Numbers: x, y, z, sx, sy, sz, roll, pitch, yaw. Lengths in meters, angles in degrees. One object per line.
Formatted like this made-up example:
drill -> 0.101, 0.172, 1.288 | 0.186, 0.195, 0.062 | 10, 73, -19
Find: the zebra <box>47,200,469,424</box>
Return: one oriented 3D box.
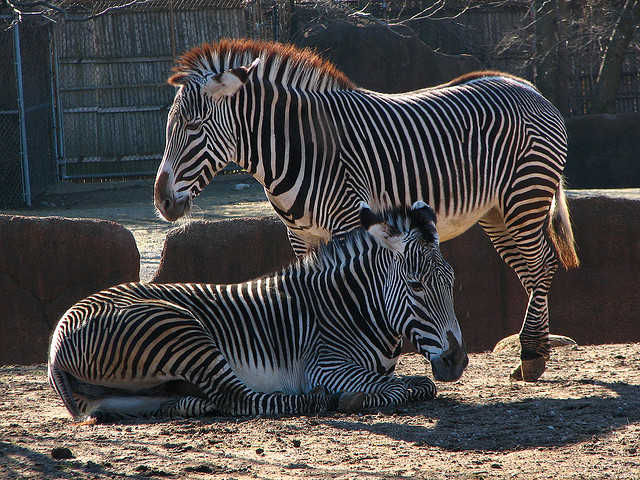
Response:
zebra -> -0.548, 0.838, 12.301 | 3.973, 1.951, 1.516 | -3, -8, -13
